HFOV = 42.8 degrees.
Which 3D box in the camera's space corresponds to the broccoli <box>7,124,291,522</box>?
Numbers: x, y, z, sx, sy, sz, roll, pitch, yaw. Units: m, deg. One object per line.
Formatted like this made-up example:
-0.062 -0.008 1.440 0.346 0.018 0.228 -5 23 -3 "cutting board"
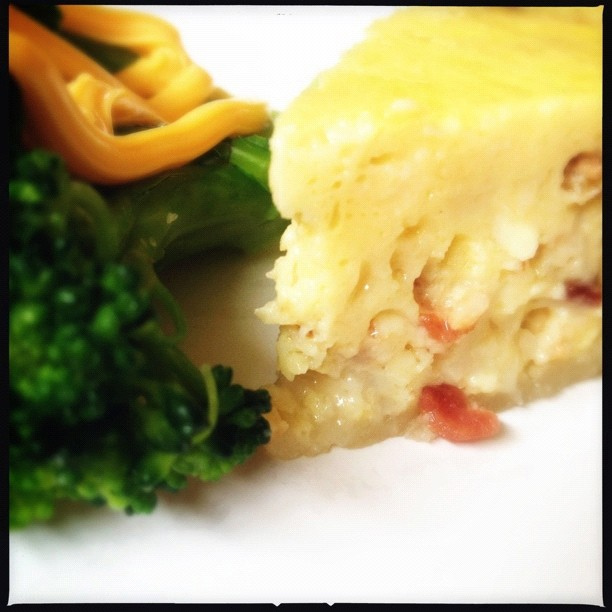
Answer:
-0.227 -0.010 0.962 0.420 0.435 0.184 0 16 -24 "broccoli"
